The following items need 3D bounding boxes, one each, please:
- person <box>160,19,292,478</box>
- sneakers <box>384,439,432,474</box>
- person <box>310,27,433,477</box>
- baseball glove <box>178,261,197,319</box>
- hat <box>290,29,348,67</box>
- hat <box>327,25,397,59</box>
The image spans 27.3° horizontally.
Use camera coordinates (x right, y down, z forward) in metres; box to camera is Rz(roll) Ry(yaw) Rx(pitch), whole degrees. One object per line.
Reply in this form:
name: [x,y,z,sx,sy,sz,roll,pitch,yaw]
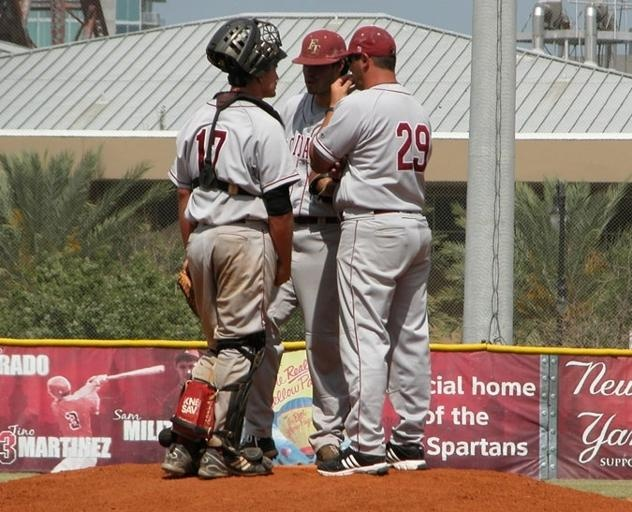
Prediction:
person: [-0.800,-0.065,12.294,1.263,4.313,0.528,-3,4,-10]
sneakers: [0.898,1.932,12.473,0.429,0.237,0.175,3,2,41]
person: [0.612,-0.049,12.342,1.097,4.225,0.495,-3,4,-10]
baseball glove: [-1.222,0.338,12.449,0.129,0.446,0.298,-9,5,0]
hat: [0.052,-2.057,12.879,0.455,0.346,0.605,8,20,43]
hat: [0.525,-2.035,12.458,0.366,0.249,0.278,13,19,35]
